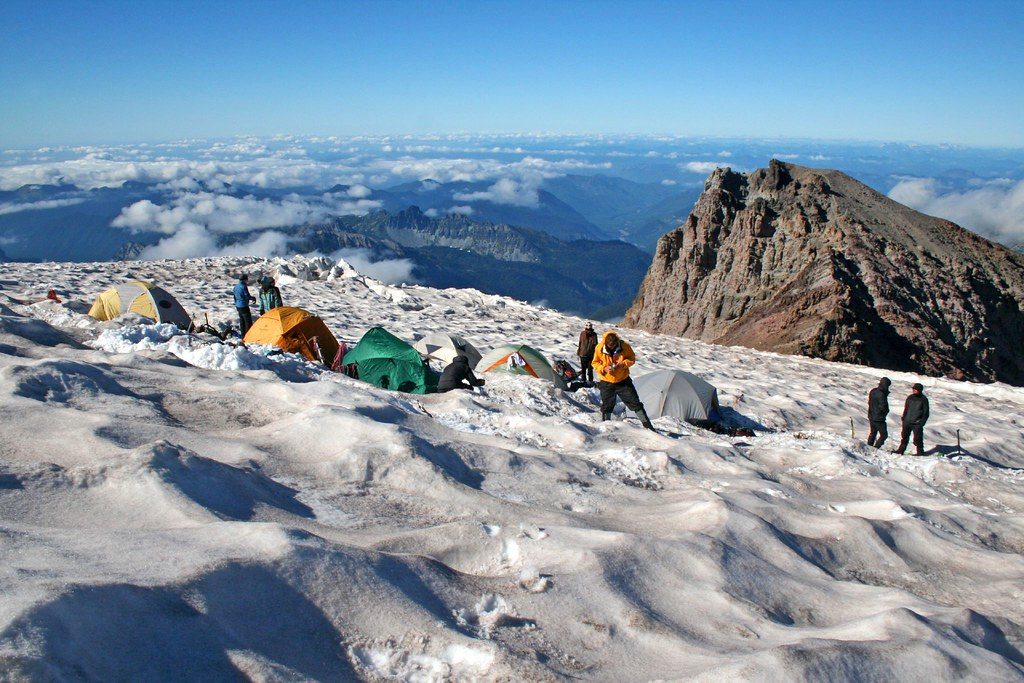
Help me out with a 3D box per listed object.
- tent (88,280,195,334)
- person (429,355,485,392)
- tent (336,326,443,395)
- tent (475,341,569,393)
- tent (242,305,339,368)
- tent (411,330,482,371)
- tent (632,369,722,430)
[{"bbox_3d":[-10.824,-1.216,21.928,2.537,0.719,1.856,5,13,12],"label":"tent"},{"bbox_3d":[-1.030,0.638,15.710,0.829,0.669,0.940,8,16,30],"label":"person"},{"bbox_3d":[-3.061,0.273,18.590,2.739,0.739,1.766,22,40,34],"label":"tent"},{"bbox_3d":[0.207,0.623,19.574,1.617,0.753,2.085,-20,33,-38],"label":"tent"},{"bbox_3d":[-5.482,-0.180,19.516,2.219,1.181,2.099,-7,12,-36],"label":"tent"},{"bbox_3d":[-1.688,0.204,21.380,1.365,0.427,1.406,0,16,-20],"label":"tent"},{"bbox_3d":[4.514,1.259,20.988,2.729,0.980,2.653,10,20,24],"label":"tent"}]
